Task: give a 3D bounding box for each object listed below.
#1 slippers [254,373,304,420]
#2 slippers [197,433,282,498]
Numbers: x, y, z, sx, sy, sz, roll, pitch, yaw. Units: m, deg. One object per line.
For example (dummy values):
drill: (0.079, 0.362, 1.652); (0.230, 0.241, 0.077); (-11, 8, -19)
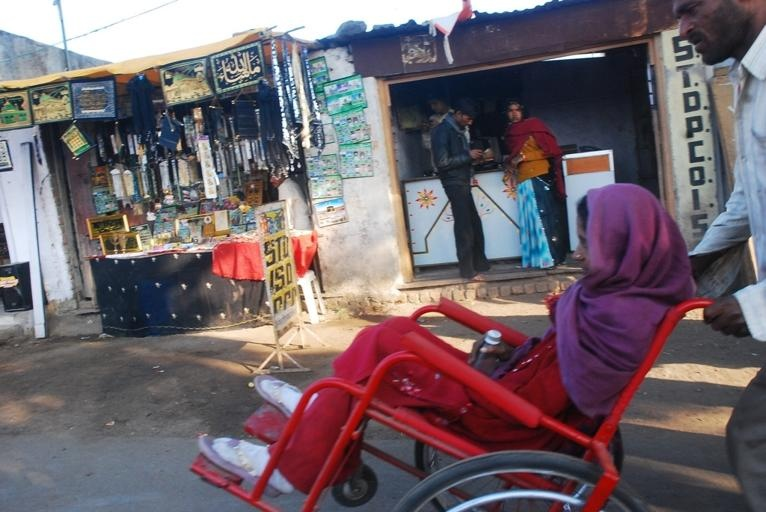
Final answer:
slippers: (-0.812, 1.065, 5.540); (0.436, 0.138, 0.220); (29, 21, 14)
slippers: (-1.062, 1.517, 5.320); (0.740, 0.168, 0.313); (20, 8, 18)
